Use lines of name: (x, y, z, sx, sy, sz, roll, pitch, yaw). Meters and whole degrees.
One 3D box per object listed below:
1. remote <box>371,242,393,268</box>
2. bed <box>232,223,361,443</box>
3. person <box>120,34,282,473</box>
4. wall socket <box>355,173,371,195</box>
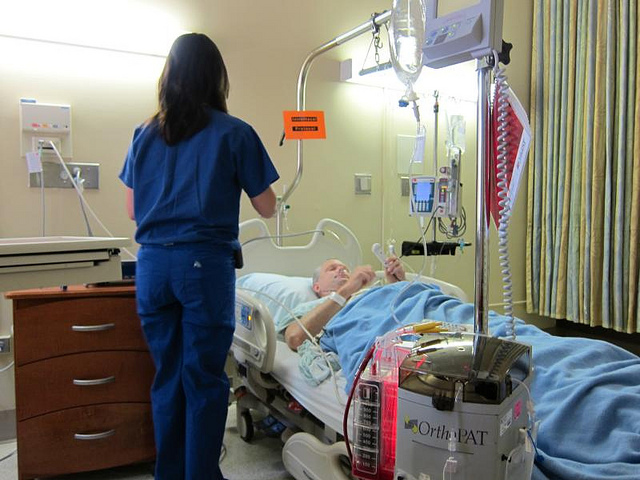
remote: (0.357, 0.094, 3.487, 0.045, 0.189, 0.097, -8, 33, 43)
bed: (-0.145, 0.390, 2.938, 0.536, 0.514, 0.992, -7, 25, -39)
person: (-0.503, 0.068, 2.552, 0.653, 1.863, 0.395, -4, 7, -12)
wall socket: (0.295, -0.398, 4.209, 0.134, 0.162, 0.029, -2, 2, -30)
